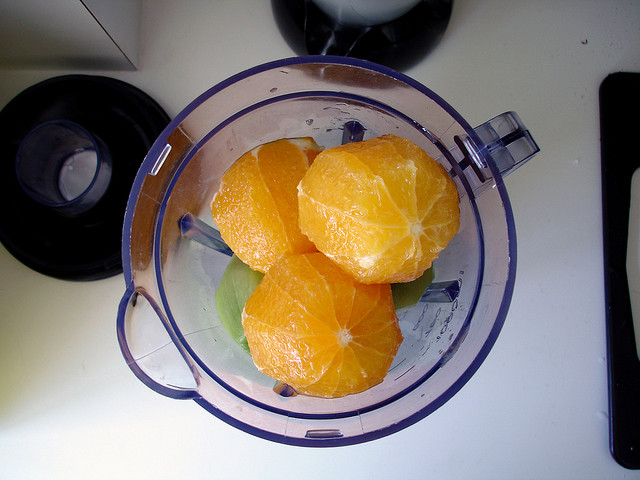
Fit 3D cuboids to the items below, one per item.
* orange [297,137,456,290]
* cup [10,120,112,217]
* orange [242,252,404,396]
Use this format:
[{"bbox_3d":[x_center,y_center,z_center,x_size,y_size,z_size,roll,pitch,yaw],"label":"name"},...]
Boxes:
[{"bbox_3d":[0.071,-0.031,0.616,0.197,0.077,0.183,-3,83,0],"label":"orange"},{"bbox_3d":[-0.416,-0.095,0.809,0.120,0.135,0.187,1,102,-4],"label":"cup"},{"bbox_3d":[0.003,0.076,0.658,0.154,0.094,0.199,-2,92,1],"label":"orange"}]
